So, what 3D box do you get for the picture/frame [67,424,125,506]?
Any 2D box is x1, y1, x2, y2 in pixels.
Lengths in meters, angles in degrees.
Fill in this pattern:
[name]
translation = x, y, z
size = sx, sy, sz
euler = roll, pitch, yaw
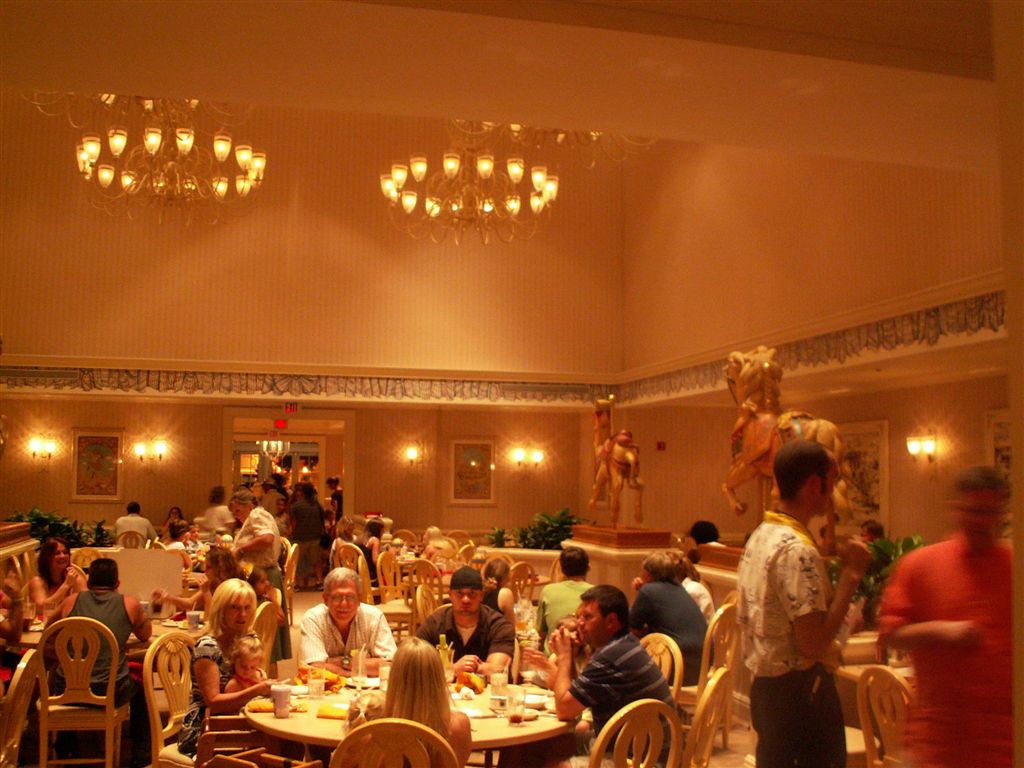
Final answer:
[picture/frame]
translation = -7.157, 1.391, 14.931
size = 1.160, 1.896, 0.074
euler = 1, -6, -21
